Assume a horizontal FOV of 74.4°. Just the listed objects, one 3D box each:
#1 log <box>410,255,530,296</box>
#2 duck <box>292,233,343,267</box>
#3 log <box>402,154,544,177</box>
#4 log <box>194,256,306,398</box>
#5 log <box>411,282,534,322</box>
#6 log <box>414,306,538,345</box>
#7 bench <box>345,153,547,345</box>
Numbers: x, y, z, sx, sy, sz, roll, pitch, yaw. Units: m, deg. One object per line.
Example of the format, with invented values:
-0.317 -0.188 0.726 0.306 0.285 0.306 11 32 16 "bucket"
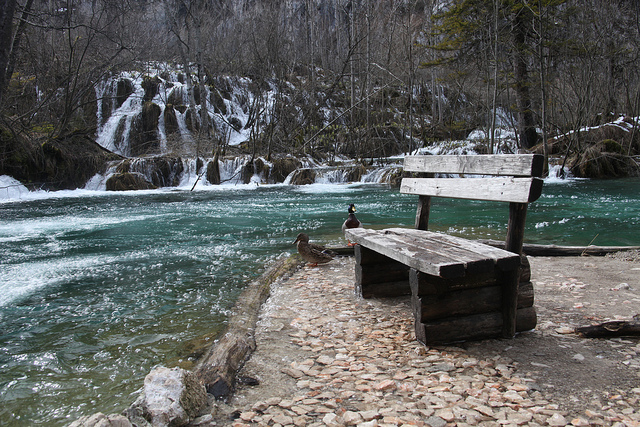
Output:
1.787 0.736 4.911 1.300 0.320 1.430 1 -13 -28 "log"
-0.057 0.632 7.577 0.940 0.520 0.387 2 -1 13 "duck"
1.948 -0.659 5.633 0.319 0.285 2.108 -8 11 -28 "log"
-0.889 1.493 5.420 0.358 0.213 2.010 -13 15 23 "log"
1.612 1.002 4.722 0.758 0.196 0.677 -3 -5 -13 "log"
1.734 1.300 4.848 1.031 0.975 0.212 -4 47 23 "log"
1.499 0.312 5.749 1.671 1.982 3.030 -9 7 -13 "bench"
